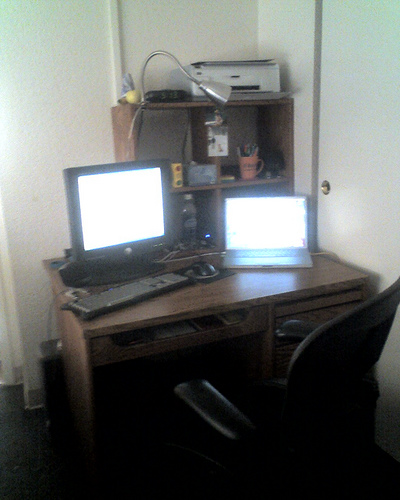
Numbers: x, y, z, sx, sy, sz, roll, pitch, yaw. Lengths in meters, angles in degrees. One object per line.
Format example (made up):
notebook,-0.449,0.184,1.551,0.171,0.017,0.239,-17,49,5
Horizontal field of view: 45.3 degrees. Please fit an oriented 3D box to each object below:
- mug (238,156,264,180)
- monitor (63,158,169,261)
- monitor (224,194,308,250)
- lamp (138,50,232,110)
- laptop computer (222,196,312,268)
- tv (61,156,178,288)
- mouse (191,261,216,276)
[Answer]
mug,0.244,-0.385,2.227,0.089,0.105,0.157,4,17,20
monitor,-0.333,-0.157,1.847,0.426,0.352,0.195,-15,22,-39
monitor,0.269,-0.128,2.035,0.457,0.203,0.269,-1,8,0
lamp,-0.051,-0.695,1.938,0.393,0.245,0.287,2,17,14
laptop computer,0.283,-0.124,2.026,0.448,0.275,0.282,0,20,4
tv,-0.256,-0.115,1.806,0.541,0.422,0.215,-14,20,-37
mouse,0.014,0.066,1.799,0.070,0.029,0.051,21,21,37
